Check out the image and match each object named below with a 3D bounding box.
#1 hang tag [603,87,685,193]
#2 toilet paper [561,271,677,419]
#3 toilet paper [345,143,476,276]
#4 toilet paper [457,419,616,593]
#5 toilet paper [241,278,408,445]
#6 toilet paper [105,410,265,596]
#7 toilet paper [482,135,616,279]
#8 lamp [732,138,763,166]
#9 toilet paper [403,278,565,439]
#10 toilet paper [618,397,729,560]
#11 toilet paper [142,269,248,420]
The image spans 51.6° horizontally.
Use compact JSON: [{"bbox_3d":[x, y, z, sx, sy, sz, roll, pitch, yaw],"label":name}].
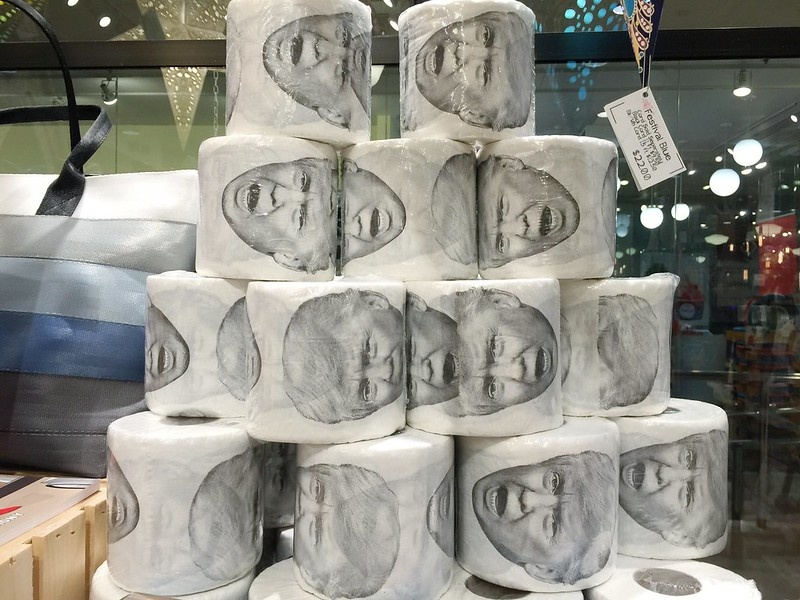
[{"bbox_3d":[0.465,-0.277,1.583,0.115,0.211,0.051,-21,1,-5],"label":"hang tag"},{"bbox_3d":[0.391,0.083,1.574,0.197,0.261,0.229,0,1,0],"label":"toilet paper"},{"bbox_3d":[0.022,-0.141,1.551,0.256,0.265,0.274,0,-8,-17],"label":"toilet paper"},{"bbox_3d":[0.238,0.309,1.411,0.237,0.210,0.237,2,3,44],"label":"toilet paper"},{"bbox_3d":[-0.122,0.076,1.447,0.290,0.287,0.266,-10,13,-41],"label":"toilet paper"},{"bbox_3d":[-0.348,0.336,1.453,0.232,0.264,0.273,1,2,7],"label":"toilet paper"},{"bbox_3d":[0.272,-0.156,1.548,0.263,0.268,0.272,-2,-2,38],"label":"toilet paper"},{"bbox_3d":[0.762,-0.321,1.817,0.059,0.059,0.056,11,-16,21],"label":"lamp"},{"bbox_3d":[0.144,0.096,1.475,0.260,0.283,0.252,-2,-5,20],"label":"toilet paper"},{"bbox_3d":[0.509,0.304,1.539,0.200,0.266,0.224,1,6,-13],"label":"toilet paper"},{"bbox_3d":[-0.338,0.075,1.542,0.194,0.265,0.222,1,4,3],"label":"toilet paper"}]
